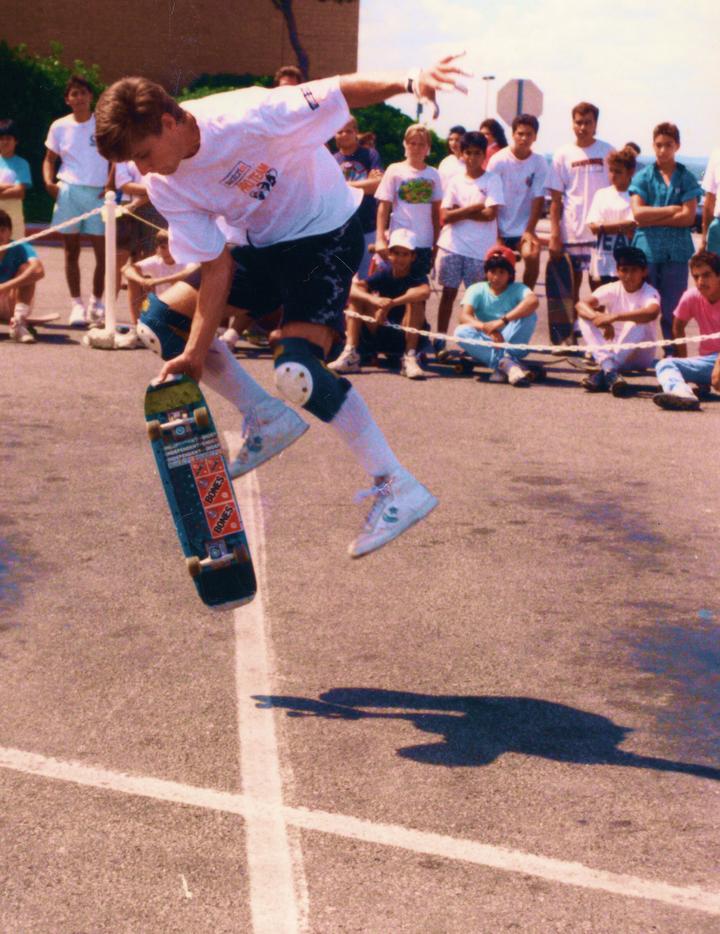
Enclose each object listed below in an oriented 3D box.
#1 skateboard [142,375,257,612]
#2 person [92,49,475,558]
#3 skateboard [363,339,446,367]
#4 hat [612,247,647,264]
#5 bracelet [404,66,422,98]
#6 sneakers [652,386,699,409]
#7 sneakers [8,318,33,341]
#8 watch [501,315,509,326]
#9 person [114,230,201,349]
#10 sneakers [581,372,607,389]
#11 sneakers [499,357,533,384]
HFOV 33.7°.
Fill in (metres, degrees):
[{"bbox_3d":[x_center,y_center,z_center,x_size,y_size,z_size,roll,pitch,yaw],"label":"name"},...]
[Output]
[{"bbox_3d":[-0.469,0.077,3.651,0.262,0.773,0.113,-21,-2,-3],"label":"skateboard"},{"bbox_3d":[-0.256,-0.494,3.816,1.027,1.505,0.747,-5,19,-10],"label":"person"},{"bbox_3d":[0.346,-0.867,8.717,0.628,0.171,0.247,2,13,6],"label":"skateboard"},{"bbox_3d":[1.863,-1.452,8.232,0.154,0.165,0.192,-9,2,31],"label":"hat"},{"bbox_3d":[0.152,-1.083,3.367,0.051,0.079,0.129,-1,17,3],"label":"bracelet"},{"bbox_3d":[1.950,-0.411,7.419,0.289,0.095,0.178,8,19,7],"label":"sneakers"},{"bbox_3d":[-2.508,-1.012,8.909,0.135,0.167,0.230,-15,21,-34],"label":"sneakers"},{"bbox_3d":[1.024,-1.027,8.413,0.057,0.089,0.114,1,17,8],"label":"watch"},{"bbox_3d":[-1.418,-1.319,8.707,0.586,0.797,0.537,-8,19,-44],"label":"person"},{"bbox_3d":[1.590,-0.575,8.036,0.159,0.128,0.119,1,18,9],"label":"sneakers"},{"bbox_3d":[1.080,-0.664,8.206,0.144,0.092,0.305,22,7,-10],"label":"sneakers"}]
